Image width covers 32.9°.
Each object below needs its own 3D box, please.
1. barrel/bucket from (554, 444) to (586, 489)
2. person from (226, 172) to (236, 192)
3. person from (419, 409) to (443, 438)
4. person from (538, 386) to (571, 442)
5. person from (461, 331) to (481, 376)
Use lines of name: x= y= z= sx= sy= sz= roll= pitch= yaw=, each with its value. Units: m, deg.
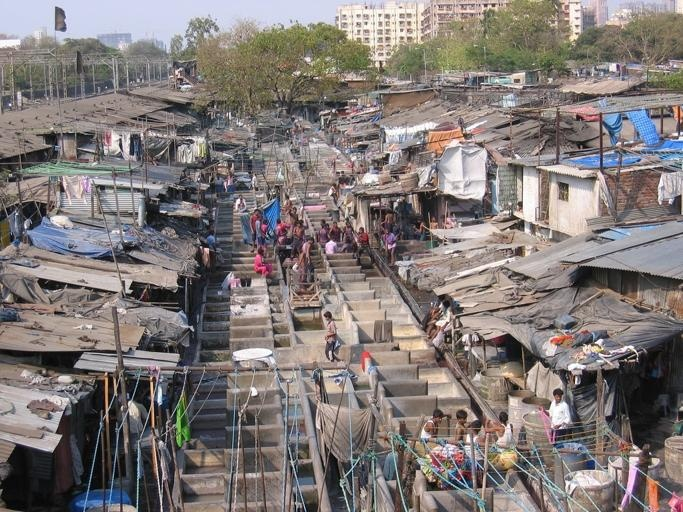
barrel/bucket: x=5.311 y=4.918 z=27.062 sx=0.706 sy=0.901 sz=1.099 roll=3 pitch=10 yaw=37
person: x=-4.903 y=-3.327 z=51.719 sx=0.455 sy=0.375 sz=1.087 roll=-3 pitch=42 yaw=3
person: x=2.166 y=4.123 z=27.619 sx=0.513 sy=0.722 sz=1.730 roll=-2 pitch=8 yaw=6
person: x=5.164 y=4.020 z=27.907 sx=0.655 sy=1.591 sz=0.802 roll=4 pitch=10 yaw=36
person: x=3.562 y=2.554 z=31.709 sx=0.539 sy=1.337 sz=2.308 roll=-2 pitch=8 yaw=6
